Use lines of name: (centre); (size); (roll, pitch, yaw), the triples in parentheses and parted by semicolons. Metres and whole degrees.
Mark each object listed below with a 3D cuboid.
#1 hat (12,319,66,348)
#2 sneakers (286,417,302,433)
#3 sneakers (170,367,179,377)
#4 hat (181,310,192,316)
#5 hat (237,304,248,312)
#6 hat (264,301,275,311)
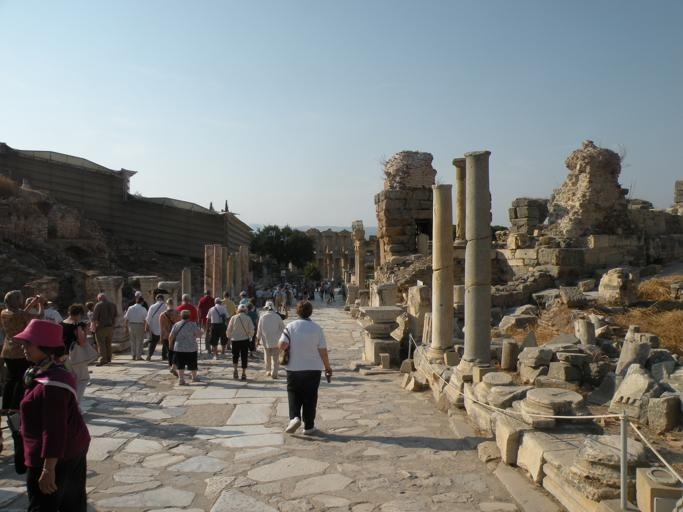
hat: (-3.134, 0.827, 7.121); (0.401, 0.194, 0.322); (19, -8, -5)
sneakers: (-0.664, 2.336, 9.373); (0.122, 0.113, 0.272); (20, -50, -23)
sneakers: (-3.055, 2.136, 12.511); (0.092, 0.120, 0.284); (27, -12, 6)
hat: (-2.733, 1.019, 11.944); (0.132, 0.119, 0.135); (3, -2, -4)
hat: (-1.923, 1.027, 13.296); (0.114, 0.129, 0.145); (9, -16, -38)
hat: (-1.342, 0.948, 12.818); (0.183, 0.089, 0.165); (3, -2, -5)
